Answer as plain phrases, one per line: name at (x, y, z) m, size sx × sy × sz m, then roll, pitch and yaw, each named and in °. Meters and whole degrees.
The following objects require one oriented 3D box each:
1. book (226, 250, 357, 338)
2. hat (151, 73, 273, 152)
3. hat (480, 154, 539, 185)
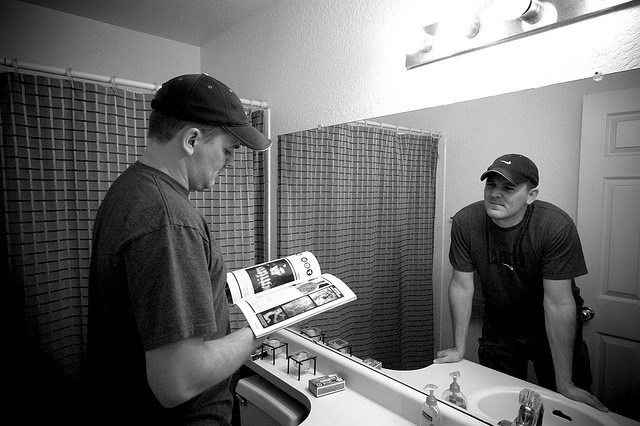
book at (-0.128, 0.329, 1.906) m, size 0.416 × 0.090 × 0.378 m, roll -12°, pitch 30°, yaw -33°
hat at (-0.390, -0.390, 1.730) m, size 0.447 × 0.202 × 0.275 m, roll 7°, pitch 16°, yaw -32°
hat at (0.784, -0.183, 1.905) m, size 0.258 × 0.125 × 0.191 m, roll 7°, pitch 5°, yaw -37°
